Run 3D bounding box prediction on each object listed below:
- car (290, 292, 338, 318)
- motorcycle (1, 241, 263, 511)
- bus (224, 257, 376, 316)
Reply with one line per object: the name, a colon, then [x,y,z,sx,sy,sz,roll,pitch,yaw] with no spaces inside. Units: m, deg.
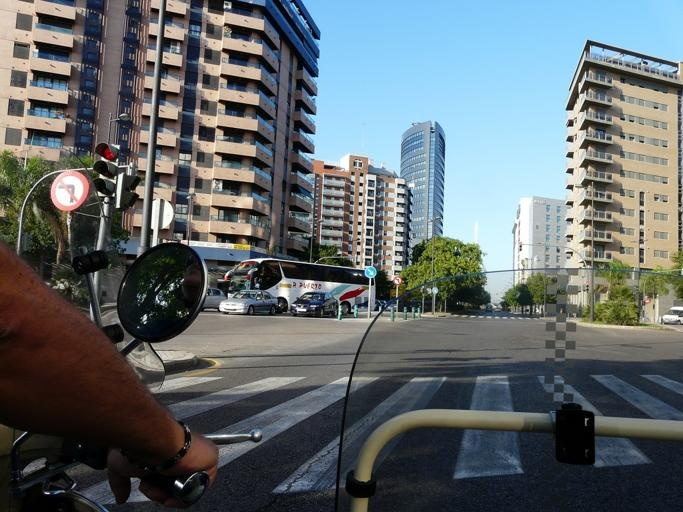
car: [-1.385,2.427,31.025,1.511,1.242,2.805,2,-2,23]
motorcycle: [-0.548,0.389,2.071,0.661,0.645,0.991,1,-7,15]
bus: [-1.735,1.715,36.559,2.972,3.250,11.893,-2,-11,42]
